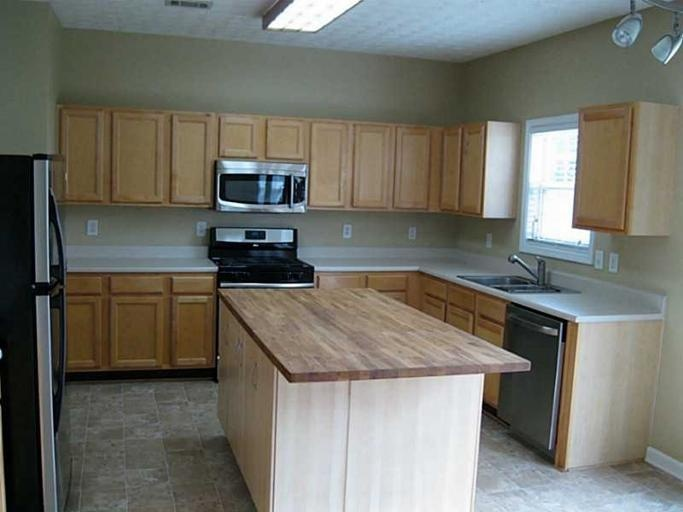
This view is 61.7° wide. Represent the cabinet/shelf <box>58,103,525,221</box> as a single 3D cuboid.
[{"bbox_3d":[-0.443,-0.883,5.384,4.065,0.876,0.709,2,10,-4],"label":"cabinet/shelf"}]

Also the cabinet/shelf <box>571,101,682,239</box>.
[{"bbox_3d":[1.931,-0.590,3.893,0.662,0.869,0.357,7,11,21],"label":"cabinet/shelf"}]

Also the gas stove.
[{"bbox_3d":[-0.820,-0.102,5.483,0.895,0.298,0.594,0,10,-13],"label":"gas stove"}]

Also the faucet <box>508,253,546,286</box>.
[{"bbox_3d":[1.610,0.092,4.939,0.303,0.239,0.493,6,11,19],"label":"faucet"}]
